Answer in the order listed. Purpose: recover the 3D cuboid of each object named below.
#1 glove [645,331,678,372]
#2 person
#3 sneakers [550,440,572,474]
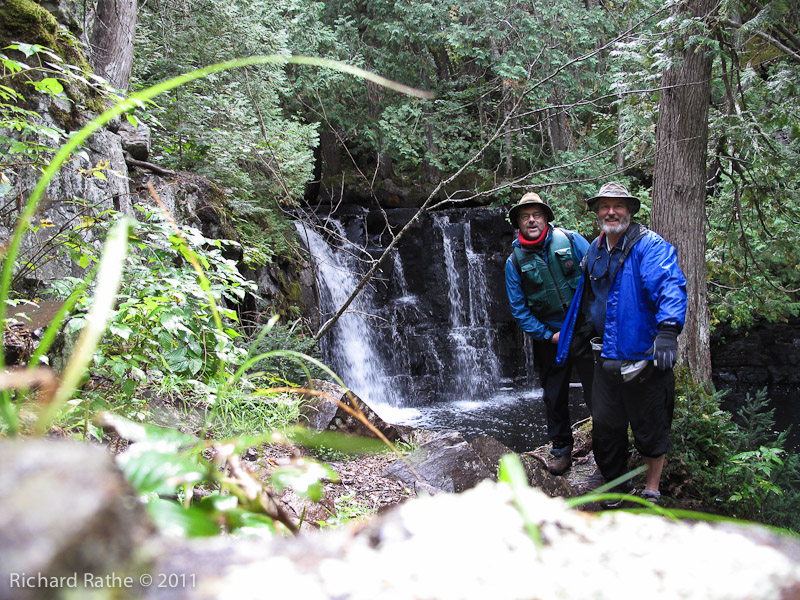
[{"bbox_3d":[1.632,0.306,4.106,0.145,0.236,0.090,-1,9,1],"label":"glove"},{"bbox_3d":[1.544,0.230,4.516,0.544,2.024,1.002,6,-6,-14],"label":"person"},{"bbox_3d":[1.263,1.258,5.255,0.112,0.223,0.308,-3,-5,32],"label":"sneakers"}]
